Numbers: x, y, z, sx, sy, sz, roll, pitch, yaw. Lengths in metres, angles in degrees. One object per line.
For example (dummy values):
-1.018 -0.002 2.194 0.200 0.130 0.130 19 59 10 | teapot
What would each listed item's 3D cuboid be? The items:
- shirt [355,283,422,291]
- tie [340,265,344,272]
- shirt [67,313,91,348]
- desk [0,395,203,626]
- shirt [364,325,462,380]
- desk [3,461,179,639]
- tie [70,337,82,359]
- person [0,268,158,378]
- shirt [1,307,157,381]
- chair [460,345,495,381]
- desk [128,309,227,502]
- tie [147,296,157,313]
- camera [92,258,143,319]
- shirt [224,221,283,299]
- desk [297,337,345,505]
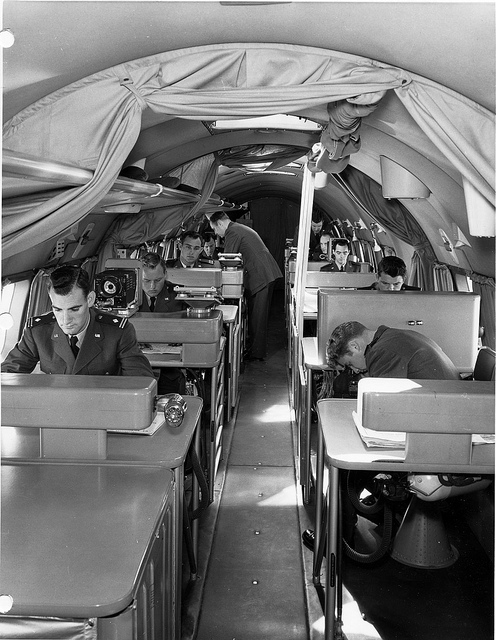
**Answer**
1.840 -0.452 6.754 0.559 0.080 1.864 1 4 11 | shirt
1.644 -0.919 9.079 0.054 0.087 0.071 1 4 11 | tie
-1.017 0.064 3.103 0.114 0.175 0.113 0 -19 5 | shirt
-0.641 0.740 2.651 0.934 1.042 1.018 2 10 4 | desk
1.053 0.236 3.309 0.541 0.331 0.526 25 13 36 | shirt
-0.456 0.653 1.472 0.311 0.414 0.597 1 0 2 | desk
-1.061 0.169 3.135 0.075 0.124 0.037 -1 -6 -10 | tie
-1.106 0.017 3.490 0.767 0.663 0.461 -1 22 -1 | person
-1.046 0.140 3.115 0.883 0.416 0.357 1 4 2 | shirt
1.694 0.317 3.816 0.259 0.312 0.210 -3 5 12 | chair
-0.492 0.575 4.915 1.060 1.446 1.826 1 11 10 | desk
-0.954 -0.155 5.118 0.114 0.127 0.033 1 -15 -6 | tie
-1.092 -0.282 4.306 0.354 0.486 0.378 -2 9 -34 | camera
0.039 -1.169 10.013 1.125 1.480 1.016 -12 9 -1 | shirt
0.501 0.694 3.612 0.413 1.104 1.164 0 6 4 | desk
